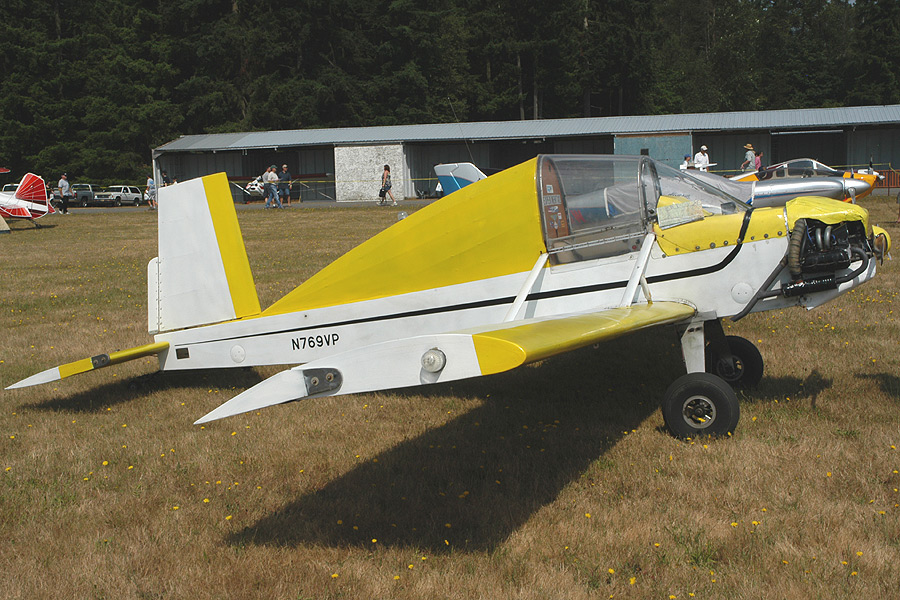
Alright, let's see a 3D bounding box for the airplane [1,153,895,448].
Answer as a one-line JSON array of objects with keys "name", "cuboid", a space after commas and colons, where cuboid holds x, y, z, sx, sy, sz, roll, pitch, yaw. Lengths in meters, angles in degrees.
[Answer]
[{"name": "airplane", "cuboid": [0.024, -0.156, 9.555, 9.880, 2.398, 3.478, -4, 13, -3]}]
